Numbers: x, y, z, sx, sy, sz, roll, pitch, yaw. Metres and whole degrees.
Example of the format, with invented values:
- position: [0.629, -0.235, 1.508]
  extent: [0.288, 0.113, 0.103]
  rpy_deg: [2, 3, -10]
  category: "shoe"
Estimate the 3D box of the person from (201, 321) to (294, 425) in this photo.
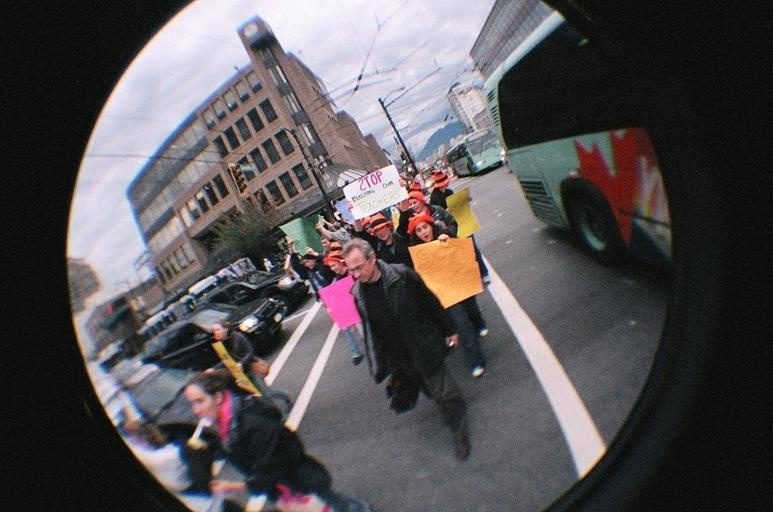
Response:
- position: [-1.361, 1.118, 4.019]
  extent: [0.327, 0.283, 0.825]
  rpy_deg: [-16, 36, -40]
  category: "person"

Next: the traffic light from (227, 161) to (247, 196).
- position: [-2.593, -1.375, 7.215]
  extent: [0.216, 0.617, 0.388]
  rpy_deg: [-25, 5, -17]
  category: "traffic light"

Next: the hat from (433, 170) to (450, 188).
- position: [0.655, -0.943, 5.110]
  extent: [0.180, 0.147, 0.204]
  rpy_deg: [-7, 34, 11]
  category: "hat"

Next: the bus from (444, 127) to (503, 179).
- position: [3.471, -4.227, 17.626]
  extent: [1.412, 1.468, 4.913]
  rpy_deg: [-15, 8, -5]
  category: "bus"

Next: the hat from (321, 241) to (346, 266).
- position: [-0.547, -0.022, 4.255]
  extent: [0.245, 0.155, 0.341]
  rpy_deg: [-1, 1, -1]
  category: "hat"

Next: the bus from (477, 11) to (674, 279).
- position: [1.605, -0.896, 3.483]
  extent: [0.371, 1.889, 2.228]
  rpy_deg: [-23, 5, 3]
  category: "bus"

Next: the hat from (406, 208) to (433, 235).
- position: [0.313, -0.330, 3.873]
  extent: [0.200, 0.130, 0.253]
  rpy_deg: [-27, 12, 16]
  category: "hat"
